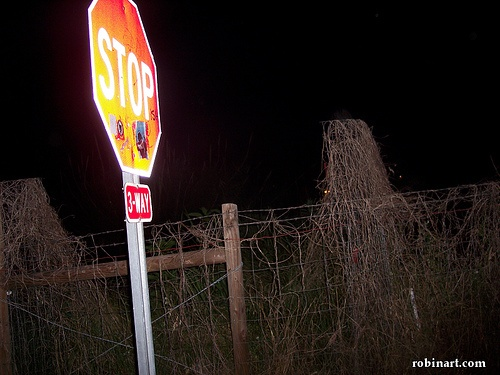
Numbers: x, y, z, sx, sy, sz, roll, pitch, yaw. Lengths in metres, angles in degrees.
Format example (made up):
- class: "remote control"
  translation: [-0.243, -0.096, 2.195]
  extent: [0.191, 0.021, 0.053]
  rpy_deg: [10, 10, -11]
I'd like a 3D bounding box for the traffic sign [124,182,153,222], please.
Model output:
- class: "traffic sign"
  translation: [-0.914, 0.118, 3.739]
  extent: [0.035, 0.325, 0.286]
  rpy_deg: [-6, -8, 26]
